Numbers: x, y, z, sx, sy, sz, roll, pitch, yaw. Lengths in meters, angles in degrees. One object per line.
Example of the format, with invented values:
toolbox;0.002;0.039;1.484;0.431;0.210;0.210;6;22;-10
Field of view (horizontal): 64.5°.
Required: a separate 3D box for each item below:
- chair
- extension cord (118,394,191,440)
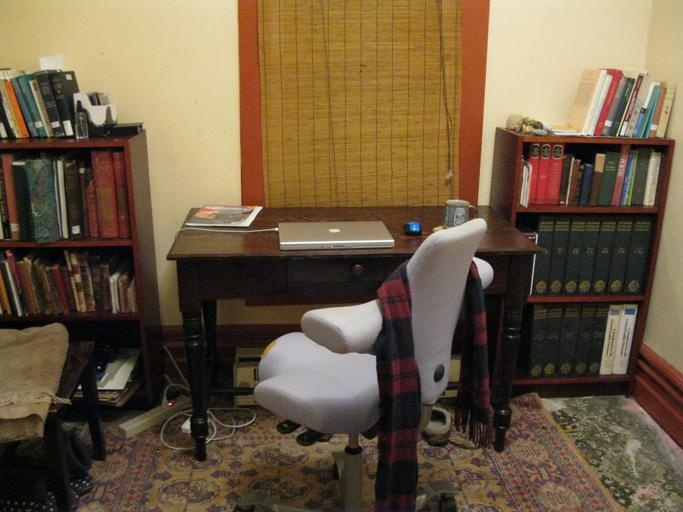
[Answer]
chair;0.090;0.465;1.880;0.803;1.226;0.496;3;22;7
extension cord;-0.918;0.787;2.633;0.047;0.051;0.291;15;25;41
